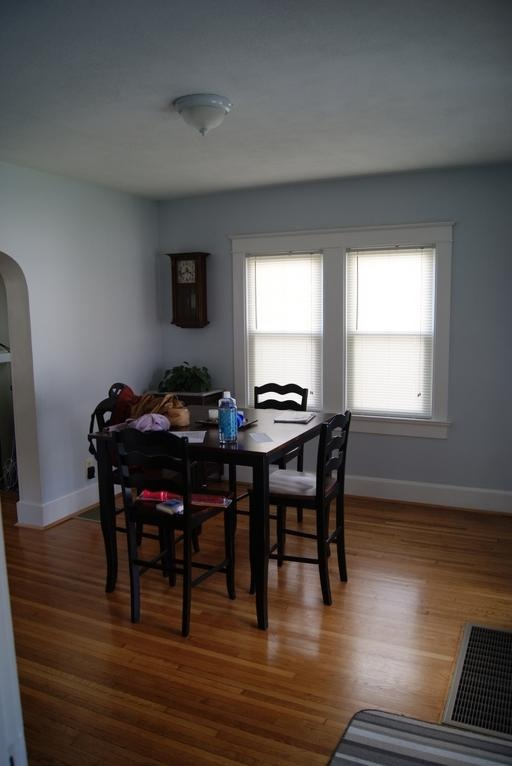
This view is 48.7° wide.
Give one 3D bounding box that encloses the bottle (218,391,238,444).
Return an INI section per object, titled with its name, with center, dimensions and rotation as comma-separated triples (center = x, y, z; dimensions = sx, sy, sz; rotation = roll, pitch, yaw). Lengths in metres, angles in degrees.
[bottle]
center = -0.131, 0.153, 2.617
dimensions = 0.081, 0.219, 0.215
rotation = -1, 4, -4

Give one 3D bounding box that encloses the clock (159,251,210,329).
[clock]
center = -0.565, -0.787, 4.761
dimensions = 0.315, 0.603, 0.150
rotation = 0, 5, 8

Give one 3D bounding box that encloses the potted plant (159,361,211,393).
[potted plant]
center = -0.578, -0.032, 4.744
dimensions = 0.284, 0.150, 0.292
rotation = -2, 4, 16

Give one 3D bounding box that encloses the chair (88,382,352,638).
[chair]
center = -0.063, 0.407, 2.711
dimensions = 1.001, 0.683, 1.065
rotation = 3, 11, 25
